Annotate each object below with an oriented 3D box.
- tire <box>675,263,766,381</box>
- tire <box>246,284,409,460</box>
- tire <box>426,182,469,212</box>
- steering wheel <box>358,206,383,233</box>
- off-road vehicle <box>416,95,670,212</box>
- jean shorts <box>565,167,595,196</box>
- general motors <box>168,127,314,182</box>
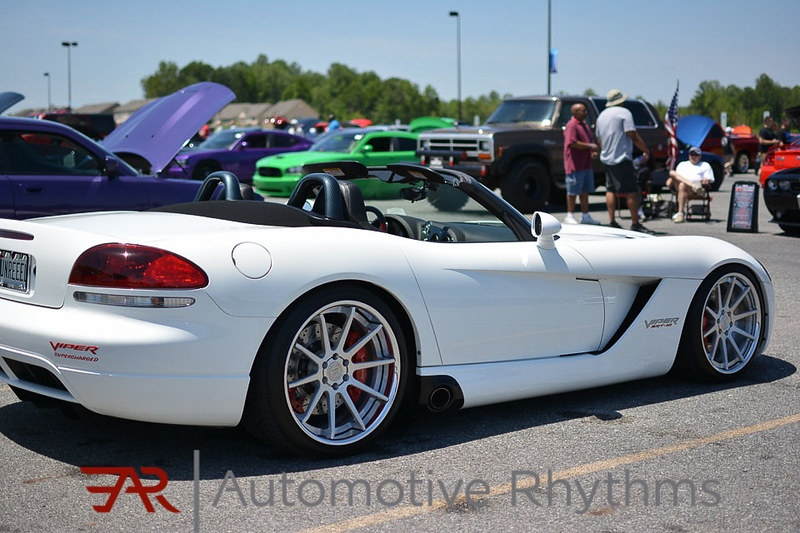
[{"bbox_3d":[2.432,0.410,6.206,0.661,0.716,0.236,-22,10,-36],"label":"tire"},{"bbox_3d":[-0.476,0.631,4.969,0.889,0.991,0.359,-8,4,-29],"label":"tire"},{"bbox_3d":[0.354,-0.488,5.908,0.198,0.047,0.214,21,-31,15],"label":"tire"},{"bbox_3d":[-0.197,-0.342,5.986,0.072,0.194,0.159,-26,-6,9],"label":"steering wheel"},{"bbox_3d":[3.199,-2.393,17.210,4.970,2.472,3.068,-4,9,-30],"label":"off-road vehicle"},{"bbox_3d":[3.048,-1.414,13.898,0.629,0.661,0.352,-4,2,-32],"label":"jean shorts"},{"bbox_3d":[-4.165,-2.962,21.094,4.115,1.331,1.856,-2,6,-43],"label":"general motors"}]
